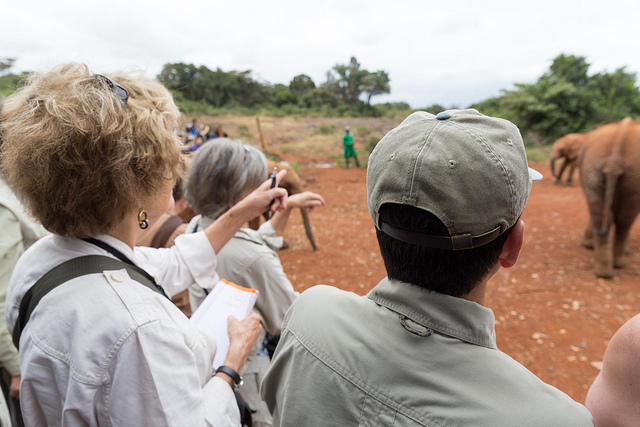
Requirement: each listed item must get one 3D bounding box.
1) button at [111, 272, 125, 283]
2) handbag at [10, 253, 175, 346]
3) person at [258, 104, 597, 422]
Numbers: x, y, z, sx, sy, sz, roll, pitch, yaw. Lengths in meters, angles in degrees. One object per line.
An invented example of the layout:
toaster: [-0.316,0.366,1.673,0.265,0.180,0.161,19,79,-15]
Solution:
button: [-0.958,0.304,2.561,0.057,0.041,0.043,-8,19,-18]
handbag: [-1.231,0.316,2.756,0.529,0.478,0.517,-6,4,-17]
person: [0.420,0.278,2.343,1.254,1.343,0.778,-5,19,-7]
